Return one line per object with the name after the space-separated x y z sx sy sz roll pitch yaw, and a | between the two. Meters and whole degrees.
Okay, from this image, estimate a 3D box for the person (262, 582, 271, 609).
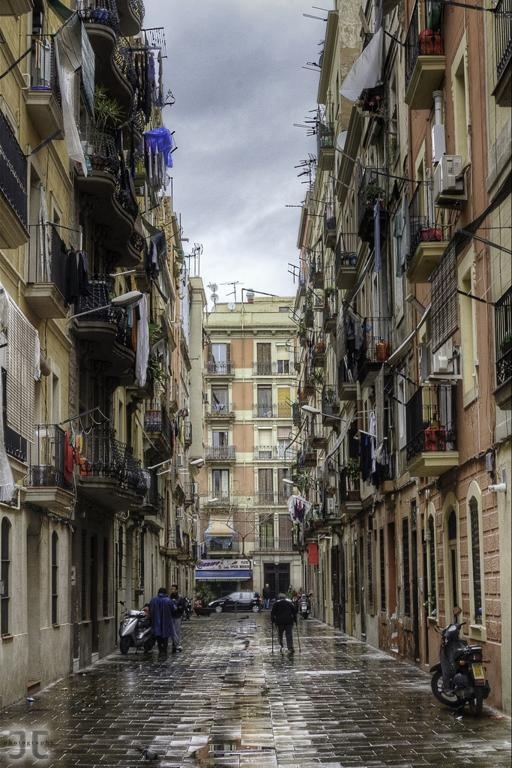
0.791 15.338 75.374 0.570 1.879 1.740 -2 -14 0 | person

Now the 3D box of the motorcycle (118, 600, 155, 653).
-2.968 6.185 25.863 0.488 1.272 1.219 -6 -21 24 | motorcycle

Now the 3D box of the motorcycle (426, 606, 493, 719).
2.340 3.338 12.085 0.319 1.516 1.535 2 -9 -2 | motorcycle

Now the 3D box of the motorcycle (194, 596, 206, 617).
-3.534 13.616 64.031 0.592 1.601 0.874 0 -16 1 | motorcycle

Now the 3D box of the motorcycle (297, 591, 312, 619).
2.573 11.574 53.904 0.532 1.186 1.454 1 0 2 | motorcycle
